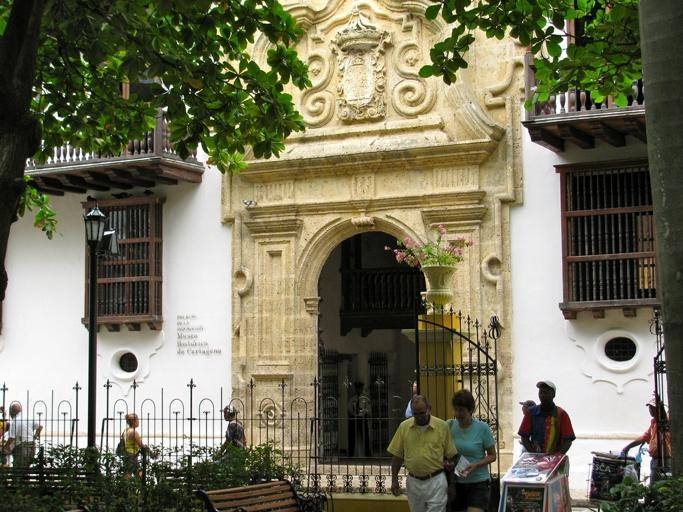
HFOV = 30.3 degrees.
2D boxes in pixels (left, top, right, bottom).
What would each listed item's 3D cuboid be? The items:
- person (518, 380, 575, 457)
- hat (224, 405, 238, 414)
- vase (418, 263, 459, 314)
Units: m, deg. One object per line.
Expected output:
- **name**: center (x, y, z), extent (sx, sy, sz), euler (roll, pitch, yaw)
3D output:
- **person**: center (2.635, 2.153, 16.294), extent (0.750, 1.061, 0.617), euler (2, 4, 20)
- **hat**: center (-1.637, 2.299, 18.956), extent (0.191, 0.069, 0.188), euler (2, -3, 1)
- **vase**: center (1.484, 0.485, 19.779), extent (0.635, 0.754, 0.680), euler (7, -11, -36)
